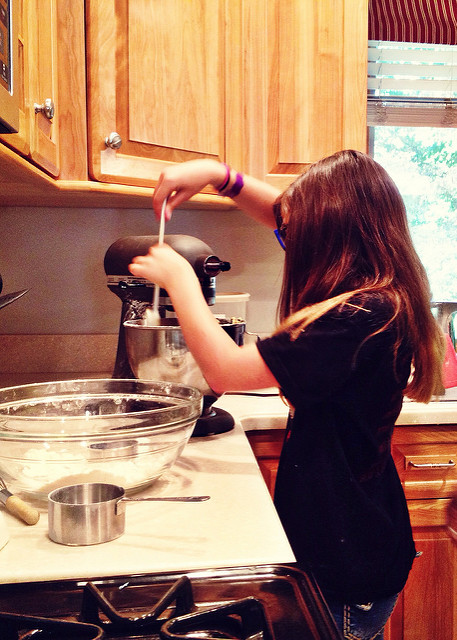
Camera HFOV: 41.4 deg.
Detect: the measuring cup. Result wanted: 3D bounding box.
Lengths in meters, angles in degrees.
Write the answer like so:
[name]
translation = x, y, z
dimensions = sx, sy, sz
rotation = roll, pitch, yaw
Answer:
[measuring cup]
translation = -0.110, 0.194, 0.659
dimensions = 0.162, 0.055, 0.131
rotation = 0, 3, -12
